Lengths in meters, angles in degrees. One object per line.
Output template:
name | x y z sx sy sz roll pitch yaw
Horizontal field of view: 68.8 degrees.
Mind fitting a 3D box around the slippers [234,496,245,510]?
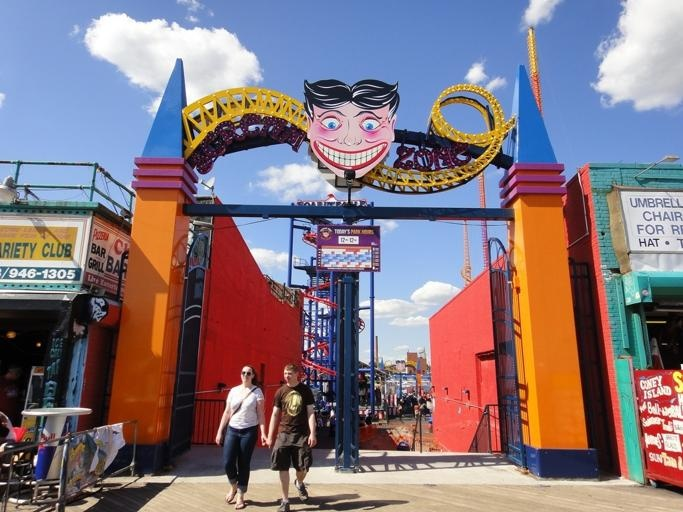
slippers | -1.688 4.133 8.372 0.167 0.193 0.254 2 -7 -11

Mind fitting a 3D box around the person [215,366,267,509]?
person | -1.700 3.072 8.497 0.782 2.325 0.866 3 -7 -18

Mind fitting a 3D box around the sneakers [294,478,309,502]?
sneakers | -0.695 4.055 8.547 0.191 0.480 0.172 -16 -25 9

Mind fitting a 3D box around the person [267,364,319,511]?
person | -0.844 3.048 8.553 0.795 2.361 0.896 2 -7 -4
